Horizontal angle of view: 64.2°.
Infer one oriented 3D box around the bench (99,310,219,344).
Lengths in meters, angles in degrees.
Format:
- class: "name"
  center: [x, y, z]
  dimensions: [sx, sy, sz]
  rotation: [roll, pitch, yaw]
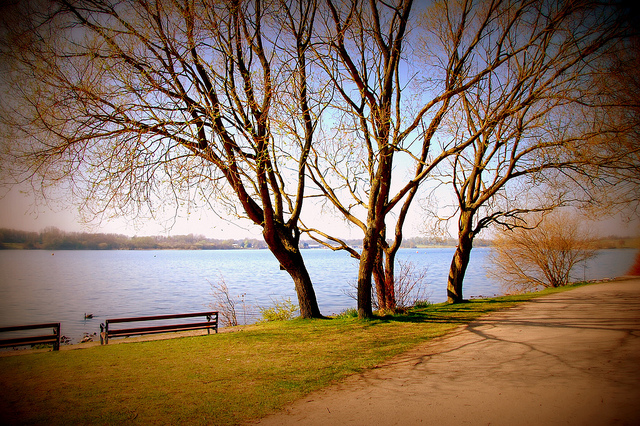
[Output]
- class: "bench"
  center: [-6.312, 4.442, 20.160]
  dimensions: [4.321, 1.051, 0.731]
  rotation: [2, 8, -32]
